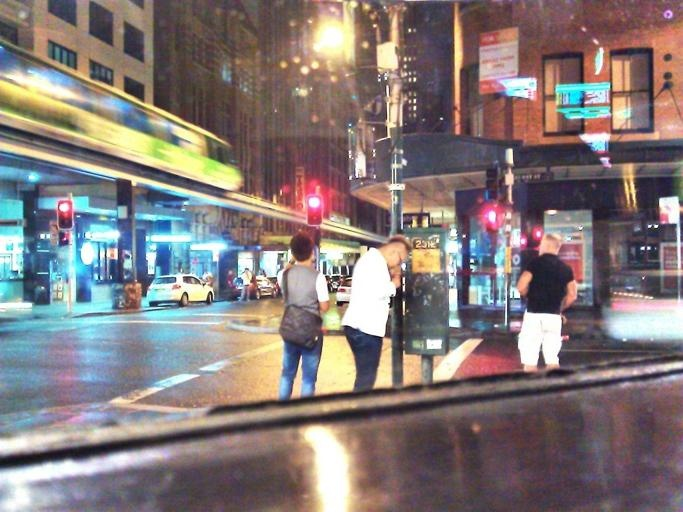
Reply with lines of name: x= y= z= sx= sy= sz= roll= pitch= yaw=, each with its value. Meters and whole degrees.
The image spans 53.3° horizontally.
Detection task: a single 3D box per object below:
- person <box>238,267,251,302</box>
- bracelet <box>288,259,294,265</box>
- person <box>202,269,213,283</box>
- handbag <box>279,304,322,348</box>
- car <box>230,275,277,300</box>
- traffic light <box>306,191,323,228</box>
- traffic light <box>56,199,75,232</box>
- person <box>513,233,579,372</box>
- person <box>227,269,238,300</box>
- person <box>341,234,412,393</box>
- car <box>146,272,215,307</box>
person: x=-5.005 y=1.422 z=35.586 sx=0.613 sy=1.659 sz=2.138 roll=-1 pitch=3 yaw=-9
bracelet: x=-0.713 y=0.074 z=9.585 sx=0.071 sy=0.123 sz=0.071 roll=0 pitch=1 yaw=-29
person: x=-7.436 y=0.880 z=37.486 sx=0.549 sy=1.027 sz=1.019 roll=-1 pitch=2 yaw=0
handbag: x=-0.541 y=0.950 z=9.305 sx=0.494 sy=0.515 sz=0.206 roll=16 pitch=-13 yaw=-4
car: x=-4.640 y=1.711 z=38.157 sx=1.084 sy=0.857 sz=2.420 roll=1 pitch=4 yaw=21
traffic light: x=-0.790 y=-1.369 z=19.675 sx=0.416 sy=0.936 sz=0.518 roll=-1 pitch=3 yaw=-7
traffic light: x=-9.557 y=-1.487 z=23.608 sx=0.516 sy=1.083 sz=0.529 roll=-2 pitch=3 yaw=-13
person: x=3.159 y=0.721 z=10.583 sx=0.860 sy=2.109 sz=0.623 roll=0 pitch=3 yaw=10
person: x=-6.064 y=1.560 z=37.925 sx=0.515 sy=1.533 sz=3.128 roll=-1 pitch=3 yaw=-9
person: x=0.466 y=0.832 z=9.425 sx=0.695 sy=2.215 sz=0.794 roll=1 pitch=4 yaw=29
car: x=-7.299 y=1.526 z=31.275 sx=1.388 sy=0.979 sz=2.742 roll=0 pitch=1 yaw=23
